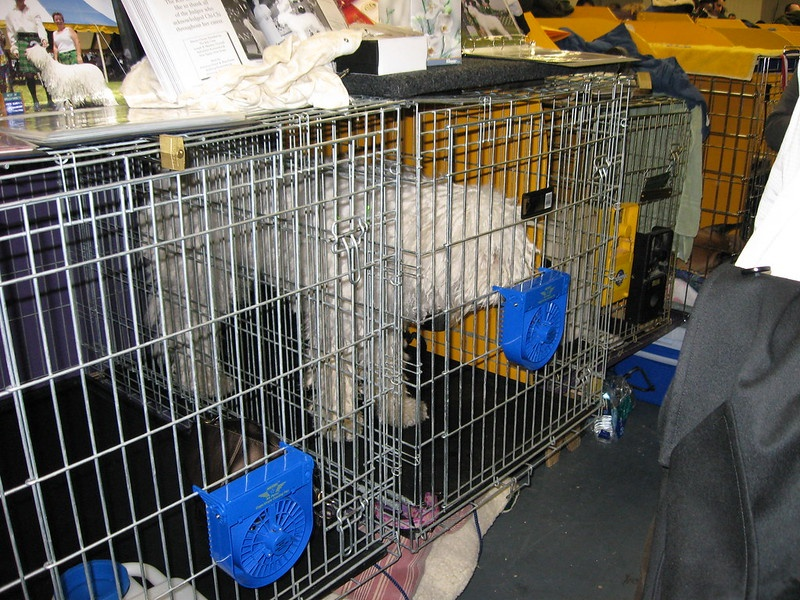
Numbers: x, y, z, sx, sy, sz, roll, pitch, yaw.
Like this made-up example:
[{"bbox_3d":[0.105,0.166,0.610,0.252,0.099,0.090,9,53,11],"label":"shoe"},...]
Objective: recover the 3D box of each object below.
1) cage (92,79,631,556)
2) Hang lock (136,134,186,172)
[{"bbox_3d":[-0.061,0.092,1.839,1.115,1.096,1.093,-18,26,-35],"label":"cage"},{"bbox_3d":[-0.349,-0.223,1.043,0.029,0.050,0.028,2,20,12],"label":"Hang lock"}]
